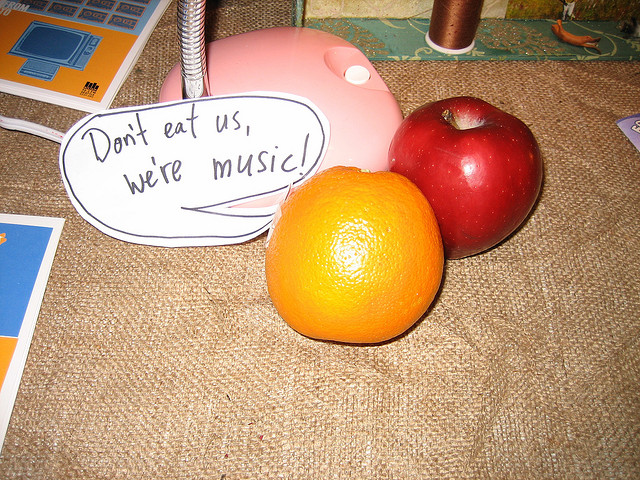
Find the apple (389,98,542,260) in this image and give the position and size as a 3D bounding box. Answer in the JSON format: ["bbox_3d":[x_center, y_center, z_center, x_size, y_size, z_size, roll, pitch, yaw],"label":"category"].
[{"bbox_3d":[0.157,-0.074,0.635,0.158,0.148,0.150,28,41,20],"label":"apple"}]
